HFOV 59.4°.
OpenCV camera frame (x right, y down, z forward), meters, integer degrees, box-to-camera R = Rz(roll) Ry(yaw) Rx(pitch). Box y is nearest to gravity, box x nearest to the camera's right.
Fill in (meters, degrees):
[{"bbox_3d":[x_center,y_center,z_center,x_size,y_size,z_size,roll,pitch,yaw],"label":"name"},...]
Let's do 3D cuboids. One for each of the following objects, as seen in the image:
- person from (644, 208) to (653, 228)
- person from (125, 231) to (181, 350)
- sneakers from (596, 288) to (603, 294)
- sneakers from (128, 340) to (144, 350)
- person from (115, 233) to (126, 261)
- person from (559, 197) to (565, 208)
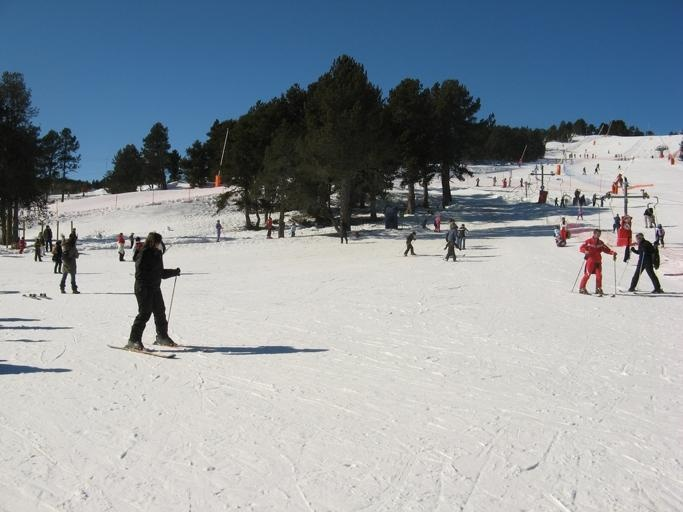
[{"bbox_3d":[18.449,-2.273,35.683,0.524,1.204,1.814,3,9,28],"label":"person"},{"bbox_3d":[-4.157,0.733,13.142,1.059,2.584,1.196,-3,8,-14],"label":"person"},{"bbox_3d":[8.158,1.105,18.916,0.131,0.185,0.182,2,1,-2],"label":"sneakers"},{"bbox_3d":[-4.393,1.914,12.798,0.181,0.112,0.265,8,17,-9],"label":"sneakers"},{"bbox_3d":[-12.800,-0.494,34.749,0.335,1.550,1.530,-4,9,-24],"label":"person"},{"bbox_3d":[19.122,-4.683,51.601,0.394,0.876,1.936,2,9,21],"label":"person"}]
